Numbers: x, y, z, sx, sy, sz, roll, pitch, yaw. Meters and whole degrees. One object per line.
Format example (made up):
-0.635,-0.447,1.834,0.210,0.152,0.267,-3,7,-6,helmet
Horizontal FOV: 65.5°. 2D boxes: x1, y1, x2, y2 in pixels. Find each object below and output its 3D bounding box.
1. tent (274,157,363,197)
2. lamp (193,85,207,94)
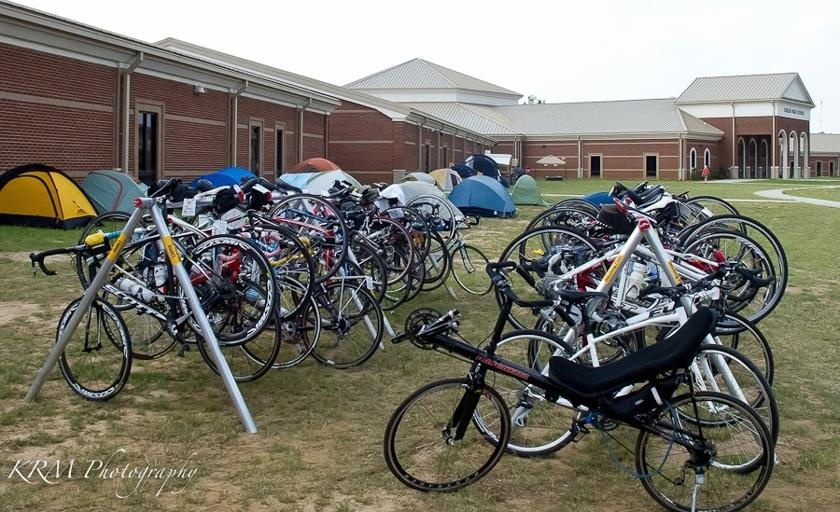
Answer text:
-3.224,-2.563,20.483,2.697,1.114,3.619,0,0,-13,tent
-7.073,-5.386,21.133,0.227,0.298,0.526,1,7,14,lamp
